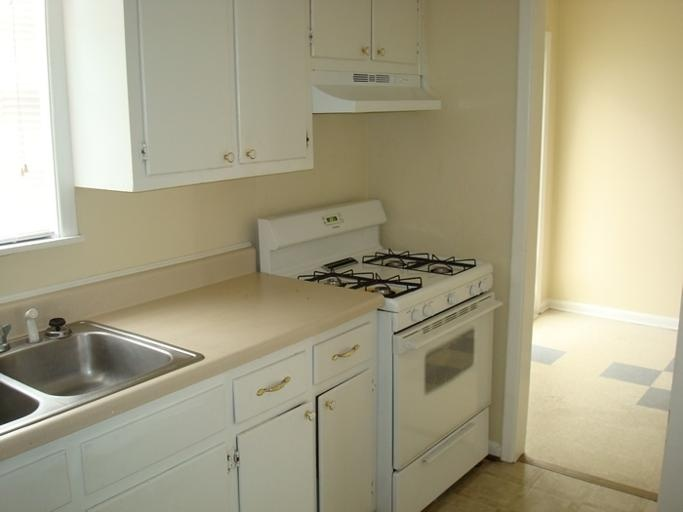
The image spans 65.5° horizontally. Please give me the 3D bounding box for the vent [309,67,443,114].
[{"bbox_3d":[0.219,-0.809,2.602,0.302,0.208,0.804,7,19,36],"label":"vent"}]

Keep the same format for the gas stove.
[{"bbox_3d":[0.274,0.182,2.760,0.691,0.297,0.962,3,9,37],"label":"gas stove"}]
